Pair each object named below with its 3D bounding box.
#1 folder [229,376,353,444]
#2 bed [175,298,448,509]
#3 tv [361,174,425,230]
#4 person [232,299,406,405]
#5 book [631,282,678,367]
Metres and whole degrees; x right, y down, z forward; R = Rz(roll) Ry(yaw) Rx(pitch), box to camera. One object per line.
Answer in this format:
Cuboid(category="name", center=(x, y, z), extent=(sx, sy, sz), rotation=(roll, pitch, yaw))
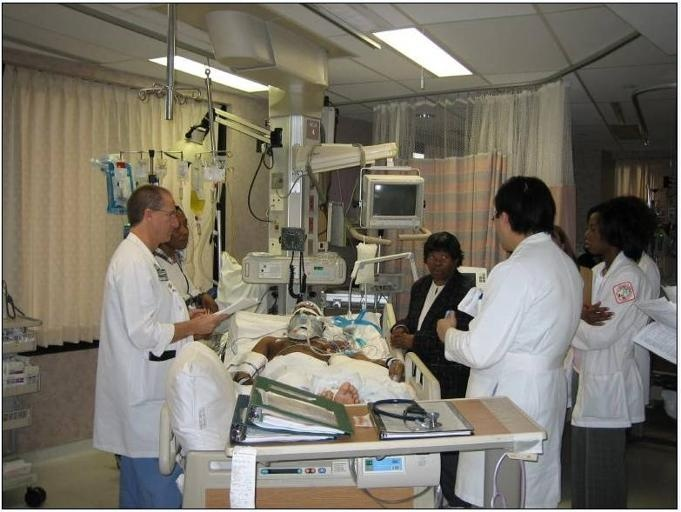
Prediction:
Cuboid(category="folder", center=(-0.187, 0.589, 2.197), extent=(0.462, 0.125, 0.341), rotation=(1, 12, -7))
Cuboid(category="bed", center=(-0.298, 0.630, 2.751), extent=(0.921, 0.548, 0.668), rotation=(-2, 11, -18))
Cuboid(category="tv", center=(0.373, -0.385, 4.010), extent=(0.445, 0.382, 0.178), rotation=(3, 13, 3))
Cuboid(category="person", center=(-0.142, 0.602, 3.188), extent=(0.550, 0.219, 0.704), rotation=(10, 6, -34))
Cuboid(category="book", center=(1.467, 0.329, 2.587), extent=(0.184, 0.268, 0.100), rotation=(9, 14, 28))
